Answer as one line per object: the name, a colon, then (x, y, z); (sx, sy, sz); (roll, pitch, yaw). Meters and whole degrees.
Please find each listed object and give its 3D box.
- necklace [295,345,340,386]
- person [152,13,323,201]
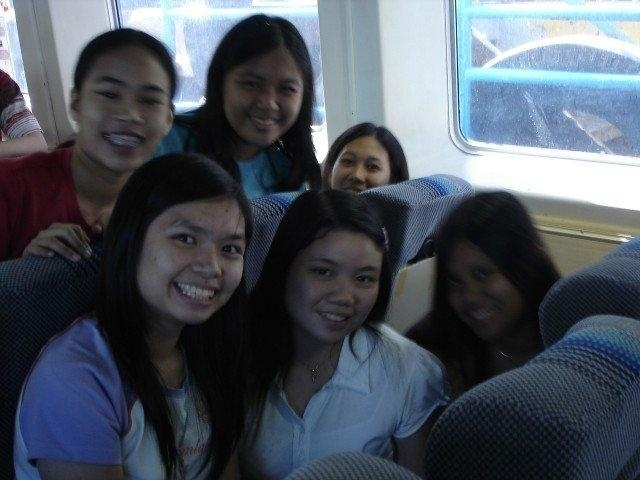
necklace: (-0.007, 0.296, 1.323); (0.079, 0.111, 0.051); (15, -7, -6)
person: (-0.247, -0.485, 2.000); (0.729, 0.754, 0.407); (-1, 32, -27)
